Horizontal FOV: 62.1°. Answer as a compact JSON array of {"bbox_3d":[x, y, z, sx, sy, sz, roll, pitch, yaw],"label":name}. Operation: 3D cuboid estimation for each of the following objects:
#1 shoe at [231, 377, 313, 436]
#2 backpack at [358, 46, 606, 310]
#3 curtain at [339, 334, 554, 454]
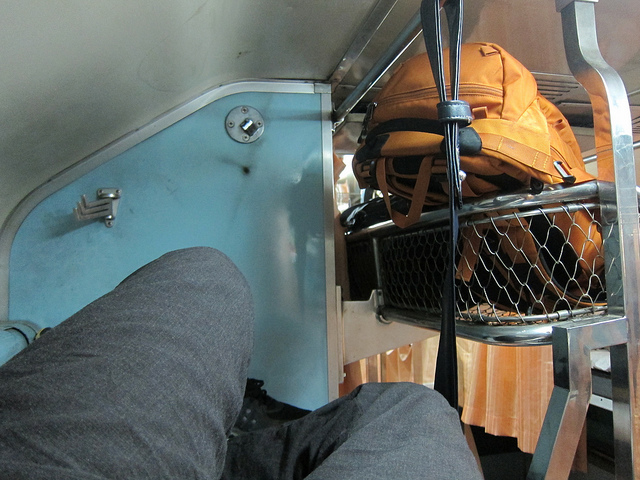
[{"bbox_3d":[-0.130,0.343,1.104,0.209,0.099,0.070,9,12,-24],"label":"shoe"},{"bbox_3d":[0.356,-0.197,1.140,0.418,0.252,0.612,6,-1,36],"label":"backpack"},{"bbox_3d":[0.465,0.561,2.208,0.883,0.278,0.636,-3,1,16],"label":"curtain"}]
